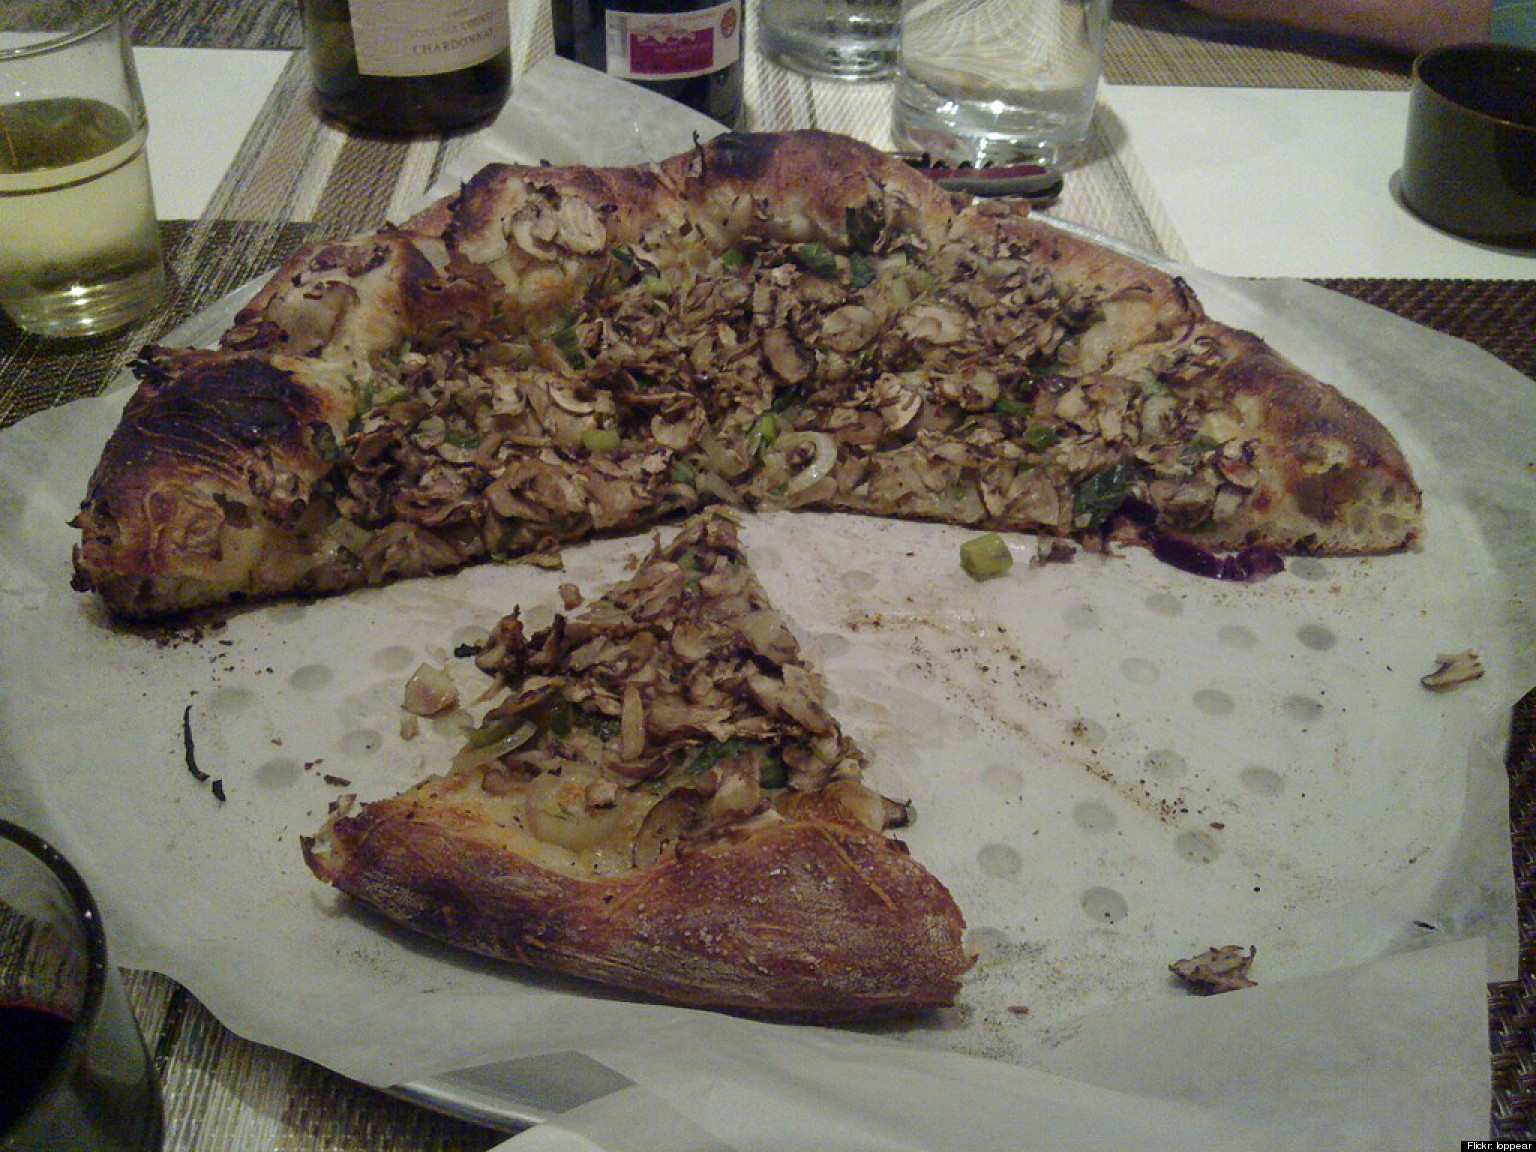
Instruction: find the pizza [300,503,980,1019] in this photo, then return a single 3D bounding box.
[{"bbox_3d":[-0.178,0.240,1.392,0.579,0.109,0.669,-19,54,-16],"label":"pizza"}]
